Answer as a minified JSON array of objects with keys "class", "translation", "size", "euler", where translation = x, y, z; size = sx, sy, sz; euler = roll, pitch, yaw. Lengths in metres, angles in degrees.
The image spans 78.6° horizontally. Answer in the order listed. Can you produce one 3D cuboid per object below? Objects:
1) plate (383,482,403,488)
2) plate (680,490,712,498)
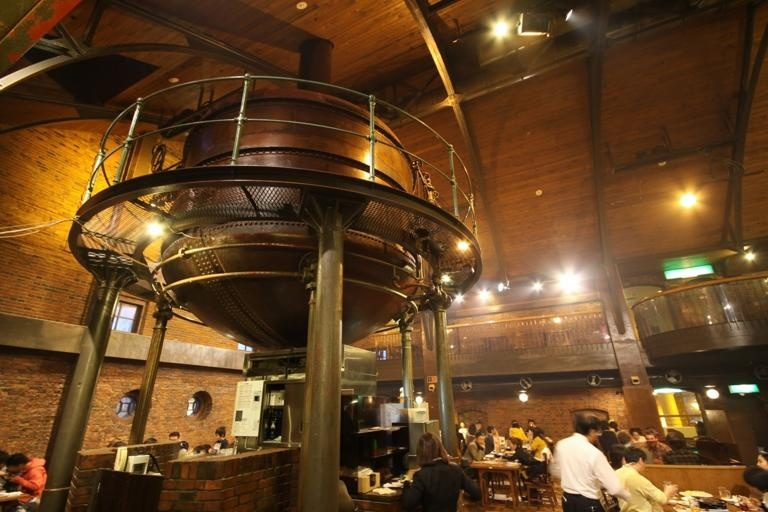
[{"class":"plate","translation":[0.213,5.002,10.216],"size":[0.429,0.110,0.450],"euler":[-2,-22,-2]},{"class":"plate","translation":[7.065,5.368,10.548],"size":[0.481,0.067,0.431],"euler":[4,-17,-14]}]
